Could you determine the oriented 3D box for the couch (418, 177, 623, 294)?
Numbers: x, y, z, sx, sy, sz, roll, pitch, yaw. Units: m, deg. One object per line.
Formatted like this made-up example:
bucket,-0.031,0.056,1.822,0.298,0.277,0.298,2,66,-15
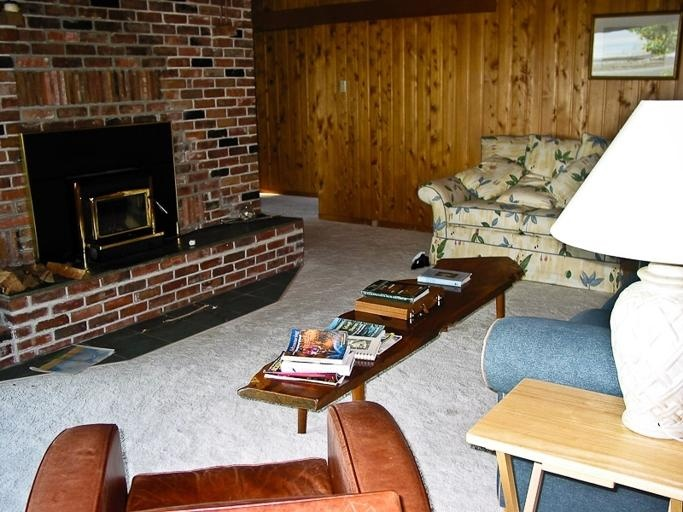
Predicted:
couch,1.529,-0.132,4.320,1.999,0.796,0.950,11,17,35
